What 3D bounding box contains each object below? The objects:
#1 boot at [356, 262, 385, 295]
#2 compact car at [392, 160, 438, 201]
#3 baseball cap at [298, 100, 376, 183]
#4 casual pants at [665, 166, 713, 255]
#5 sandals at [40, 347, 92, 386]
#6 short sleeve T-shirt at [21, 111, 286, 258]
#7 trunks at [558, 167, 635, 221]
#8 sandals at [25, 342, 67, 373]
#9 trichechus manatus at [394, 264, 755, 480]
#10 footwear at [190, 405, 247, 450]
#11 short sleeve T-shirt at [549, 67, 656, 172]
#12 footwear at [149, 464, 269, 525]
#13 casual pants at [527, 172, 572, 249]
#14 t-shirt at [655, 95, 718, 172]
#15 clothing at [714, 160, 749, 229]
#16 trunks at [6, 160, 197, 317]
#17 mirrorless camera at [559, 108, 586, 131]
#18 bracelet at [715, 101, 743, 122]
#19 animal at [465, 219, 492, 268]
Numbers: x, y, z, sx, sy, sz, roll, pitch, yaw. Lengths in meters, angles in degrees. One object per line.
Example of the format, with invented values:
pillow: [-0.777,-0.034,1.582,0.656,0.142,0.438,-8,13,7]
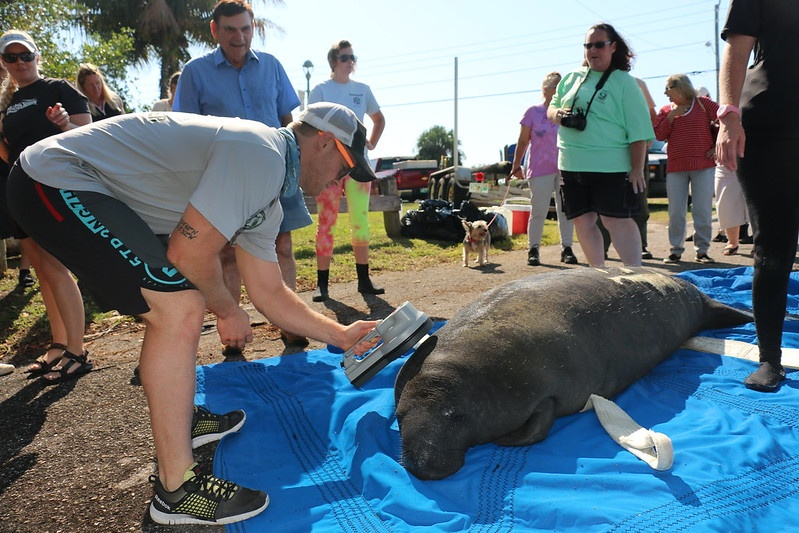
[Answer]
boot: [-0.389,0.160,7.871,0.453,0.405,0.226,0,14,6]
compact car: [0.614,-3.495,27.734,1.548,1.563,1.608,-3,10,0]
baseball cap: [-0.359,-0.864,4.579,0.617,0.314,0.366,34,9,-17]
casual pants: [3.967,-0.797,9.320,0.582,1.383,0.418,1,1,19]
sandals: [-2.845,0.868,5.781,0.194,0.175,0.408,4,4,26]
short sleeve T-shirt: [-1.503,-0.452,4.240,1.135,0.527,1.045,17,1,-19]
trunks: [1.999,-0.735,7.049,0.501,0.678,0.879,-9,5,-43]
sandals: [-3.128,0.816,6.008,0.130,0.137,0.364,18,26,21]
trichechus manatus: [1.234,0.607,5.178,2.837,0.774,1.035,-17,-18,-37]
footwear: [-1.336,1.143,4.976,0.552,0.241,0.174,-13,14,-42]
short sleeve T-shirt: [2.064,-1.500,6.973,1.007,1.084,0.468,3,13,30]
footwear: [-1.189,1.439,4.400,0.867,0.360,0.300,0,3,-8]
casual pants: [2.136,-0.840,9.464,0.625,1.346,0.404,1,13,2]
t-shirt: [3.976,-1.810,9.321,0.964,0.978,0.497,-3,5,24]
clothing: [4.750,-0.972,9.580,0.458,0.748,0.579,-15,14,-34]
trunks: [-1.860,-0.182,4.204,1.088,0.955,0.310,1,12,22]
mirrorless camera: [1.750,-1.485,6.914,0.256,0.191,0.110,1,2,6]
bracelet: [2.424,-1.158,5.048,0.128,0.116,0.124,-5,-27,2]
animal: [1.100,-0.336,9.839,0.375,0.619,0.574,-2,10,7]
